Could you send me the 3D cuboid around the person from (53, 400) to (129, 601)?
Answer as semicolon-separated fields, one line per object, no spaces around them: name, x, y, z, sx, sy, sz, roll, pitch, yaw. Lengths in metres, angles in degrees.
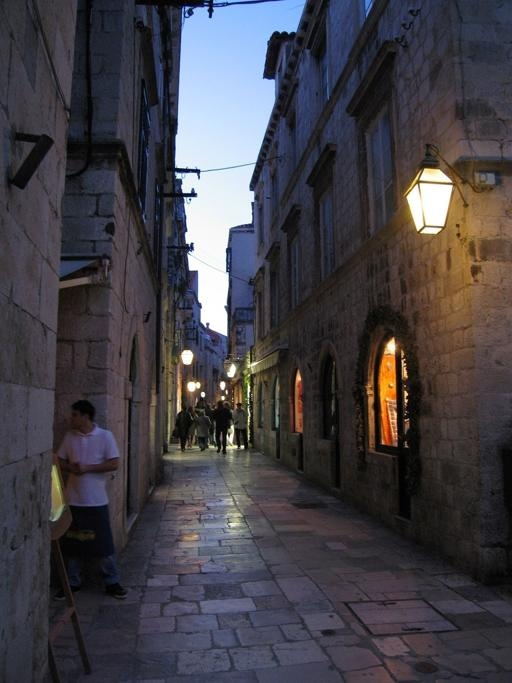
person;-1.287;1.205;4.719;0.518;1.505;0.597;4;-8;-33

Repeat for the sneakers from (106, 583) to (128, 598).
sneakers;-1.055;1.897;4.666;0.184;0.144;0.076;0;-1;25
